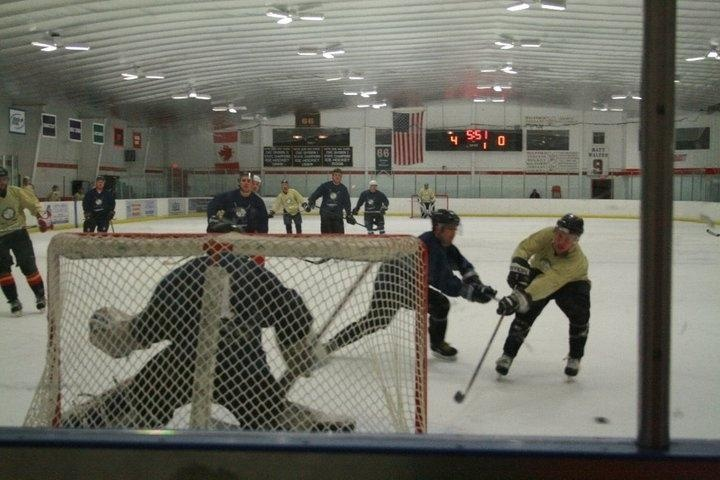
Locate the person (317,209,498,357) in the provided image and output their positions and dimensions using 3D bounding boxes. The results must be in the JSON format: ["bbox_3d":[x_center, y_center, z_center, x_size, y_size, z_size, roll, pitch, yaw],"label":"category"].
[{"bbox_3d":[0.332,0.350,5.095,1.282,1.165,0.367,2,6,17],"label":"person"}]

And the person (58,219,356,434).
[{"bbox_3d":[-1.002,0.554,4.006,1.509,1.286,1.139,-5,-21,-9],"label":"person"}]

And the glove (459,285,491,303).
[{"bbox_3d":[0.827,0.384,4.919,0.183,0.072,0.133,3,-3,-10],"label":"glove"}]

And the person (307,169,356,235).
[{"bbox_3d":[-0.446,-0.493,10.385,0.779,1.278,0.345,9,29,3],"label":"person"}]

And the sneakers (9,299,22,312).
[{"bbox_3d":[-3.140,0.603,6.196,0.093,0.111,0.162,-5,9,-31],"label":"sneakers"}]

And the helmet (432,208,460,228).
[{"bbox_3d":[0.605,-0.163,4.930,0.162,0.102,0.129,2,1,13],"label":"helmet"}]

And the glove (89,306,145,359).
[{"bbox_3d":[-1.325,0.505,3.736,0.314,0.232,0.124,37,-4,2],"label":"glove"}]

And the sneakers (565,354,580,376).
[{"bbox_3d":[1.472,0.897,4.810,0.086,0.141,0.142,0,-16,15],"label":"sneakers"}]

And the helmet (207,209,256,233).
[{"bbox_3d":[-1.001,-0.163,5.356,0.306,0.138,0.235,4,0,42],"label":"helmet"}]

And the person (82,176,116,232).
[{"bbox_3d":[-3.669,-0.371,9.520,0.445,1.003,0.279,1,15,-21],"label":"person"}]

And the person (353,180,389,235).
[{"bbox_3d":[0.190,-0.495,11.868,0.690,1.065,0.480,0,19,14],"label":"person"}]

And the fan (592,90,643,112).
[{"bbox_3d":[6.910,-3.699,18.638,1.119,0.472,5.823,2,8,19],"label":"fan"}]

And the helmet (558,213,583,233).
[{"bbox_3d":[1.456,-0.122,4.683,0.159,0.145,0.130,-5,17,-23],"label":"helmet"}]

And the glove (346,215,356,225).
[{"bbox_3d":[-0.145,-0.304,10.807,0.145,0.188,0.127,6,14,-10],"label":"glove"}]

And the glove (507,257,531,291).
[{"bbox_3d":[1.135,0.259,4.856,0.164,0.221,0.111,7,40,4],"label":"glove"}]

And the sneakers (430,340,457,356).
[{"bbox_3d":[0.640,0.827,5.229,0.214,0.099,0.087,0,4,33],"label":"sneakers"}]

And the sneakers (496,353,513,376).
[{"bbox_3d":[1.015,0.877,4.792,0.068,0.118,0.120,20,49,11],"label":"sneakers"}]

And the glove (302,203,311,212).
[{"bbox_3d":[-0.845,-0.520,10.712,0.112,0.153,0.056,-2,-4,10],"label":"glove"}]

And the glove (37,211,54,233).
[{"bbox_3d":[-3.131,-0.207,6.698,0.168,0.224,0.220,1,-19,-16],"label":"glove"}]

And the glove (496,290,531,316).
[{"bbox_3d":[1.043,0.424,4.665,0.228,0.110,0.136,-16,42,-32],"label":"glove"}]
